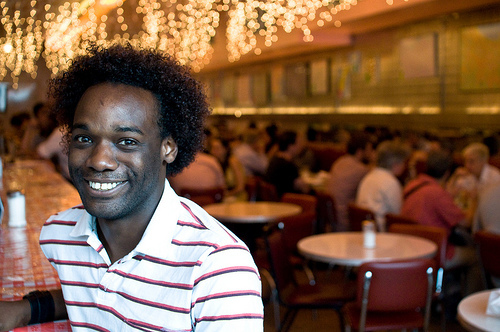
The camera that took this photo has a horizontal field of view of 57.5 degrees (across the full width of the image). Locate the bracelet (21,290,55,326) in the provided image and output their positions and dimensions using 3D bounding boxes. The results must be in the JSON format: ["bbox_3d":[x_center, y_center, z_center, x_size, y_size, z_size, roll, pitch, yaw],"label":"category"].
[{"bbox_3d":[-0.803,0.551,1.768,0.100,0.122,0.050,4,-8,-20],"label":"bracelet"}]

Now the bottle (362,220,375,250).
[{"bbox_3d":[0.898,0.516,3.463,0.098,0.195,0.174,-1,4,14],"label":"bottle"}]
